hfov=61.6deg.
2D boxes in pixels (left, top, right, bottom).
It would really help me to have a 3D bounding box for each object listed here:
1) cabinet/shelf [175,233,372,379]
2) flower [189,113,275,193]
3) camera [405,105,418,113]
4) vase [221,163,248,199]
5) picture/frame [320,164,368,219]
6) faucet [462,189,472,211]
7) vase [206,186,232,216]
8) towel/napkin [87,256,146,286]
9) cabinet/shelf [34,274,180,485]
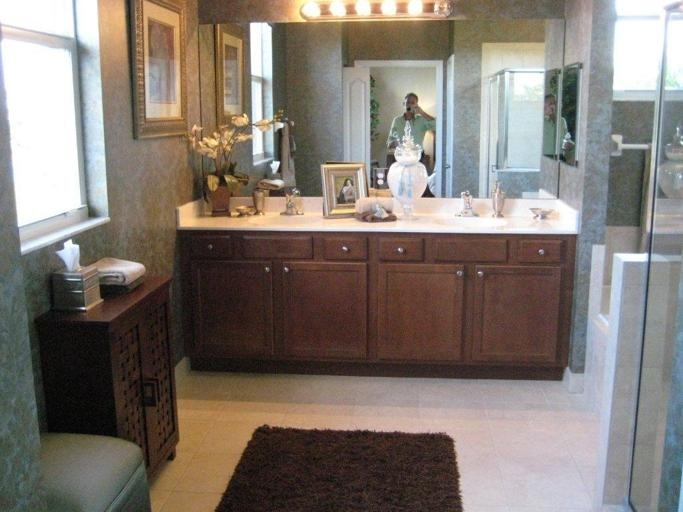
[{"bbox_3d":[-0.408,0.217,4.086,1.417,1.057,0.805,0,7,1],"label":"cabinet/shelf"},{"bbox_3d":[-0.788,-0.729,4.176,0.530,0.506,0.562,-4,-13,0],"label":"flower"},{"bbox_3d":[0.491,-1.030,4.011,0.047,0.020,0.066,34,-40,-30],"label":"camera"},{"bbox_3d":[-0.762,-0.539,4.079,0.087,0.200,0.215,-5,-10,35],"label":"vase"},{"bbox_3d":[0.016,-0.453,4.006,0.381,0.467,0.050,1,-1,-22],"label":"picture/frame"},{"bbox_3d":[0.886,-0.395,4.047,0.079,0.135,0.122,1,13,13],"label":"faucet"},{"bbox_3d":[-0.863,-0.389,4.070,0.201,0.221,0.185,-1,4,-10],"label":"vase"},{"bbox_3d":[-1.097,0.072,2.782,0.151,0.056,0.163,7,15,3],"label":"towel/napkin"},{"bbox_3d":[-1.038,0.523,2.477,0.334,0.899,0.803,1,17,4],"label":"cabinet/shelf"}]
